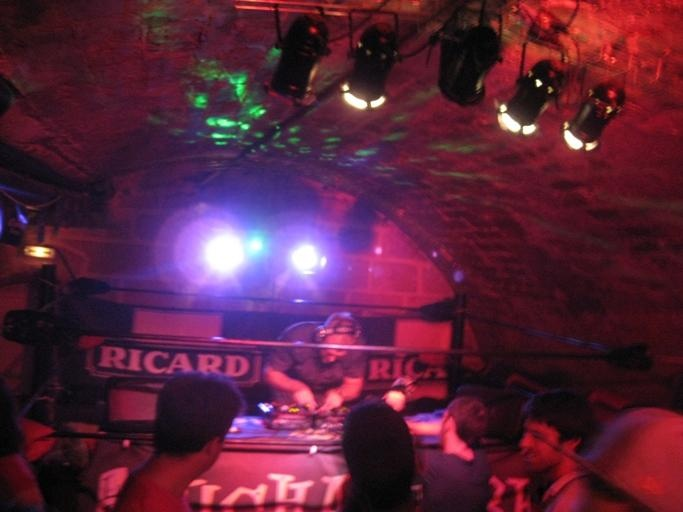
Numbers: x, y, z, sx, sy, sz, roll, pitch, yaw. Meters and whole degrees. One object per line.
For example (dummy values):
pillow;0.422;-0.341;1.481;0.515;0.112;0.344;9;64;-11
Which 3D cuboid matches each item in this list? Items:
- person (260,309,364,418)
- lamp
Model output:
person;-0.177;1.013;5.972;0.925;1.026;1.028;11;-24;-21
lamp;0.729;-1.205;4.202;2.283;0.662;0.448;5;-11;8
